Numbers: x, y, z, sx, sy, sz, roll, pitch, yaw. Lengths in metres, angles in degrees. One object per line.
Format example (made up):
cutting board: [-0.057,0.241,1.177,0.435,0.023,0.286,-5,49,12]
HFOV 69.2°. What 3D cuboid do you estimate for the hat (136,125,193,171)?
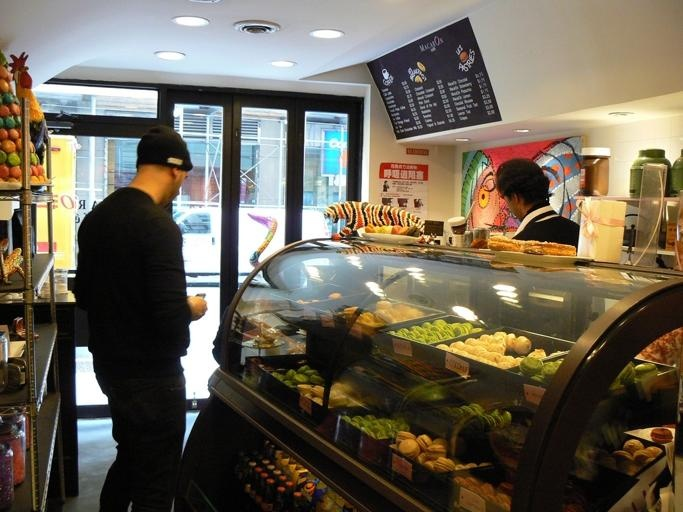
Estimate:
hat: [-0.778,-0.480,2.260,0.179,0.146,0.231,14,9,35]

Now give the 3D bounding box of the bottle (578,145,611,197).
bottle: [1.458,-0.480,2.863,0.153,0.285,0.682,1,9,27]

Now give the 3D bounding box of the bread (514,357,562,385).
bread: [0.489,0.281,1.230,0.032,0.044,0.084,-9,8,-44]
